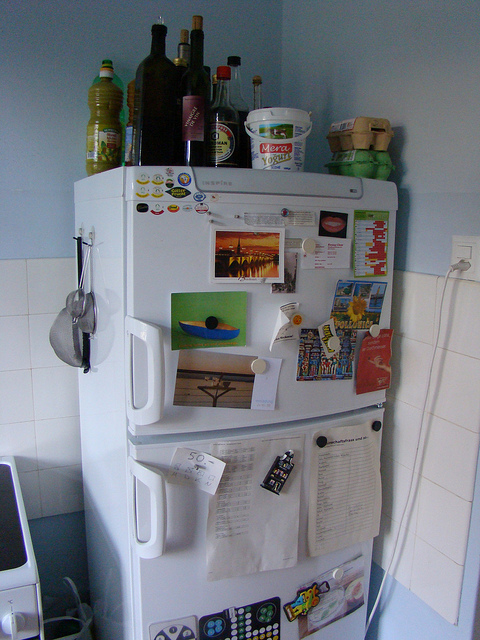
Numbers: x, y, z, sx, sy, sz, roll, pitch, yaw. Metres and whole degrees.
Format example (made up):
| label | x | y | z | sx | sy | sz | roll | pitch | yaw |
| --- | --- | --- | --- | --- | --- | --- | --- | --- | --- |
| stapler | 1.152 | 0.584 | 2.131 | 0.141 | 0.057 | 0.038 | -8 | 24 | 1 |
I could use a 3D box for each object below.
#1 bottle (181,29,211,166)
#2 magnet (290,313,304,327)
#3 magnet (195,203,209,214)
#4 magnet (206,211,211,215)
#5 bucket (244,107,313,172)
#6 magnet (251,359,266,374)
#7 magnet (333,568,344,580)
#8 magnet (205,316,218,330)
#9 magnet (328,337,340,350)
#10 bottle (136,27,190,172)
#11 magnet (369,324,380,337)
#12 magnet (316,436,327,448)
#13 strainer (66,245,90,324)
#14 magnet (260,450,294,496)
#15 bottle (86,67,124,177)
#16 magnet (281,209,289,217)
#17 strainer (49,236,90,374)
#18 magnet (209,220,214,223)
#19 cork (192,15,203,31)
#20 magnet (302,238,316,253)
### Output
| label | x | y | z | sx | sy | sz | roll | pitch | yaw |
| --- | --- | --- | --- | --- | --- | --- | --- | --- | --- |
| bottle | -0.096 | -0.449 | 1.160 | 0.066 | 0.256 | 0.081 | -6 | 25 | -17 |
| magnet | 0.113 | 0.001 | 1.132 | 0.028 | 0.026 | 0.009 | -7 | 13 | -39 |
| magnet | -0.071 | -0.205 | 1.038 | 0.024 | 0.017 | 0.005 | -7 | 15 | -33 |
| magnet | -0.059 | -0.197 | 1.044 | 0.011 | 0.006 | 0.011 | -1 | 6 | -11 |
| bucket | 0.079 | -0.378 | 1.188 | 0.138 | 0.125 | 0.079 | 1 | 13 | 0 |
| magnet | 0.038 | 0.094 | 1.109 | 0.038 | 0.032 | 0.013 | -7 | 15 | -33 |
| magnet | 0.228 | 0.593 | 1.313 | 0.006 | 0.025 | 0.026 | 12 | 12 | 34 |
| magnet | -0.054 | 0.007 | 1.061 | 0.024 | 0.022 | 0.005 | 2 | 8 | -25 |
| magnet | 0.197 | 0.050 | 1.182 | 0.025 | 0.024 | 0.006 | -2 | 13 | -34 |
| bottle | -0.164 | -0.469 | 1.173 | 0.097 | 0.302 | 0.094 | 4 | 44 | -3 |
| magnet | 0.293 | 0.024 | 1.234 | 0.026 | 0.025 | 0.008 | -8 | 15 | -32 |
| magnet | 0.176 | 0.263 | 1.210 | 0.022 | 0.021 | 0.005 | 3 | 0 | -22 |
| strainer | -0.388 | -0.077 | 1.336 | 0.031 | 0.174 | 0.048 | 3 | -9 | 32 |
| magnet | 0.089 | 0.318 | 1.172 | 0.050 | 0.024 | 0.095 | -3 | 42 | 51 |
| bottle | -0.330 | -0.482 | 1.380 | 0.090 | 0.264 | 0.088 | 4 | 15 | -1 |
| magnet | 0.087 | -0.208 | 1.100 | 0.017 | 0.016 | 0.005 | 0 | 6 | -26 |
| strainer | -0.401 | -0.057 | 1.407 | 0.145 | 0.394 | 0.048 | -17 | -26 | 20 |
| magnet | -0.055 | -0.182 | 1.046 | 0.007 | 0.006 | 0.002 | 1 | 4 | -17 |
| cork | -0.086 | -0.592 | 1.124 | 0.015 | 0.026 | 0.016 | -1 | 13 | -10 |
| magnet | 0.137 | -0.145 | 1.111 | 0.026 | 0.025 | 0.006 | 21 | 4 | -17 |
